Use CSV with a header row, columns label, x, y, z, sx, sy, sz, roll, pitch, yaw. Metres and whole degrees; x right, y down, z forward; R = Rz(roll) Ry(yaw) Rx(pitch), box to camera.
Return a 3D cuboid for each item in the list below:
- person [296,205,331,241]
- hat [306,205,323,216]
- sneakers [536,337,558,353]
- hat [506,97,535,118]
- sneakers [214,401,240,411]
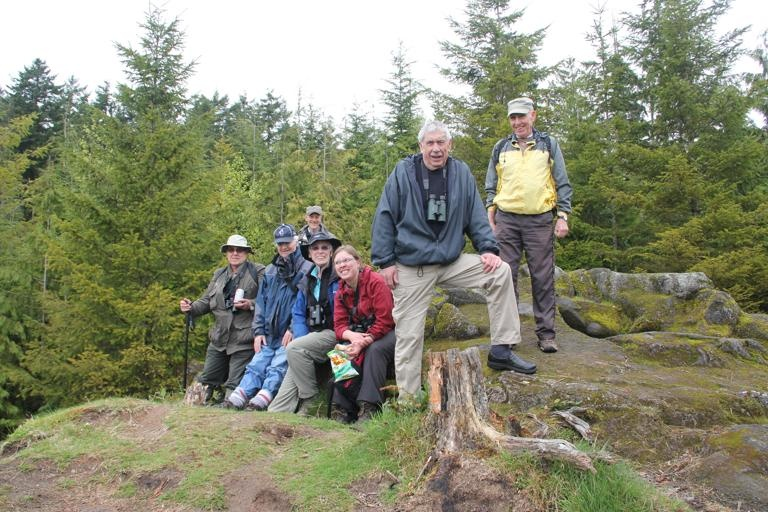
label,x,y,z,sx,sy,sz,roll,pitch,yaw
person,-1.626,-0.703,13.687,0.893,0.861,0.666,0,5,-18
hat,-1.619,-1.054,13.681,0.402,0.201,0.541,2,2,-8
sneakers,2.950,1.616,10.538,0.183,0.182,0.411,-3,-10,-1
hat,2.434,-2.690,10.445,0.432,0.383,0.264,1,-4,4
sneakers,-2.957,2.869,11.162,0.251,0.117,0.275,-1,-2,32
